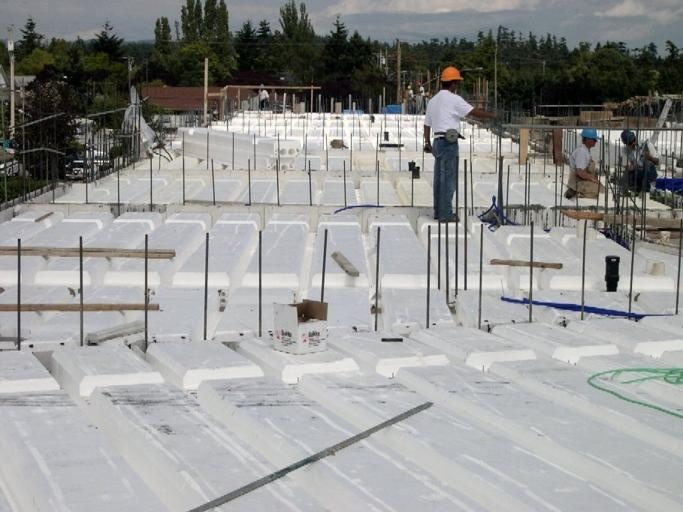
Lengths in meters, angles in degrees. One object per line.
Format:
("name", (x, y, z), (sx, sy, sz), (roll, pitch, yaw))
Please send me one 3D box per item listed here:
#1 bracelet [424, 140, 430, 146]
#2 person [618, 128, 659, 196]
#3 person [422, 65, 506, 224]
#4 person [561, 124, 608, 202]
("bracelet", (1.028, -1.350, 9.576), (0.078, 0.043, 0.062), (4, 9, 42))
("person", (4.669, -1.495, 12.696), (0.571, 1.006, 0.587), (-3, 5, 3))
("person", (1.267, -1.289, 9.384), (0.468, 1.837, 1.092), (-2, 8, -12))
("person", (3.607, -1.362, 11.905), (0.571, 1.047, 1.610), (2, 8, 16))
